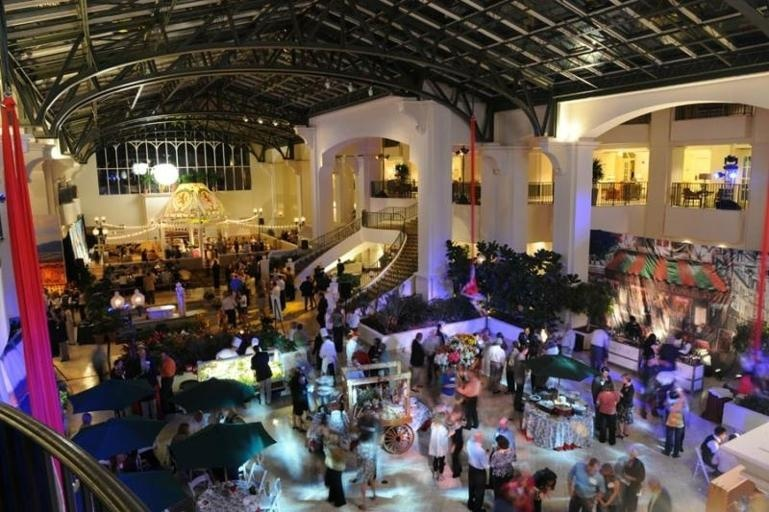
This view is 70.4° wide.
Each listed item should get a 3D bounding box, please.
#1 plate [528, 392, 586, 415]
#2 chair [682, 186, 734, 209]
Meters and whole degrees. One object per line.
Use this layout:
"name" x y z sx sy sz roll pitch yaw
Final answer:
"plate" 3.857 3.172 11.809 0.614 0.160 0.632 -3 8 -25
"chair" 11.509 -2.063 19.370 0.763 0.636 1.352 -6 10 -43
